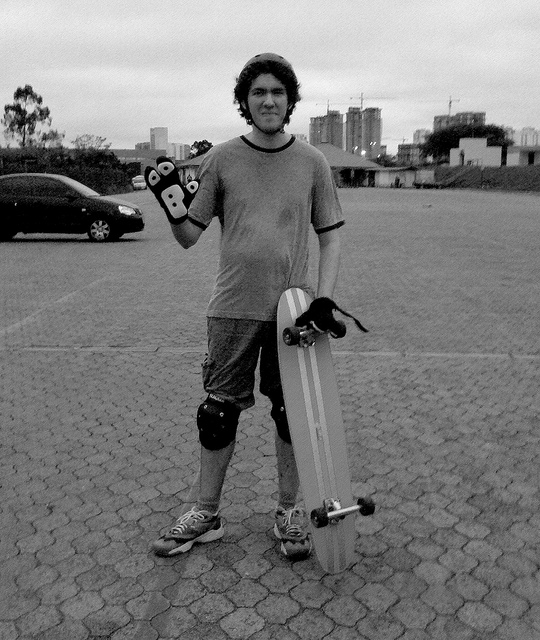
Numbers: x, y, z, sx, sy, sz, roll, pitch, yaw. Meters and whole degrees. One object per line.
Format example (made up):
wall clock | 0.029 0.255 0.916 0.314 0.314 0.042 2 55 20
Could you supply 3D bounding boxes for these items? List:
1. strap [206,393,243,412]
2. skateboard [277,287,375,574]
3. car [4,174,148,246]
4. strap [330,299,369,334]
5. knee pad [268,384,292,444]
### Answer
strap | -0.168 0.296 2.076 0.072 0.020 0.079 27 -1 0
skateboard | 0.163 0.377 1.954 0.254 0.952 0.349 -5 8 -36
car | -4.975 -2.811 15.020 3.398 1.599 1.777 0 9 -1
strap | 0.673 -0.027 4.751 0.404 0.095 0.101 45 -13 17
knee pad | 0.034 0.330 2.073 0.054 0.279 0.035 -15 24 -16
